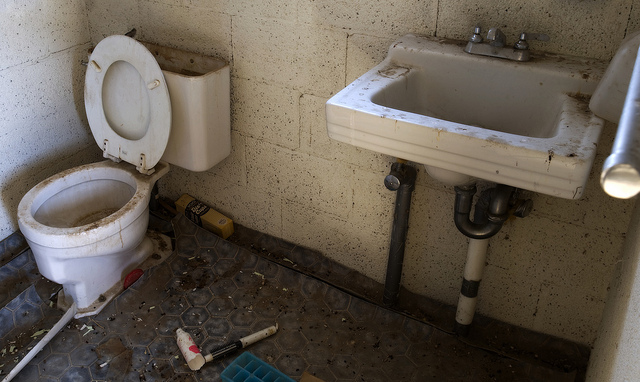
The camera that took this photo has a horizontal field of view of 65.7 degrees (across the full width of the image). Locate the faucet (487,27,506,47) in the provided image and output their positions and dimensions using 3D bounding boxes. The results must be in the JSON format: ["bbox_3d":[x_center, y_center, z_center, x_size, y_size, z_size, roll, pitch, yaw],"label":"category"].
[{"bbox_3d":[0.756,-0.656,2.138,0.054,0.089,0.095,16,59,27],"label":"faucet"}]

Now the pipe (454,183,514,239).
[{"bbox_3d":[0.749,0.059,2.280,0.255,0.344,0.114,10,21,13],"label":"pipe"}]

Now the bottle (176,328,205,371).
[{"bbox_3d":[-0.672,0.794,2.530,0.087,0.078,0.233,12,21,-40],"label":"bottle"}]

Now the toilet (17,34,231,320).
[{"bbox_3d":[-1.108,-0.086,2.747,0.779,1.207,1.110,26,46,21],"label":"toilet"}]
